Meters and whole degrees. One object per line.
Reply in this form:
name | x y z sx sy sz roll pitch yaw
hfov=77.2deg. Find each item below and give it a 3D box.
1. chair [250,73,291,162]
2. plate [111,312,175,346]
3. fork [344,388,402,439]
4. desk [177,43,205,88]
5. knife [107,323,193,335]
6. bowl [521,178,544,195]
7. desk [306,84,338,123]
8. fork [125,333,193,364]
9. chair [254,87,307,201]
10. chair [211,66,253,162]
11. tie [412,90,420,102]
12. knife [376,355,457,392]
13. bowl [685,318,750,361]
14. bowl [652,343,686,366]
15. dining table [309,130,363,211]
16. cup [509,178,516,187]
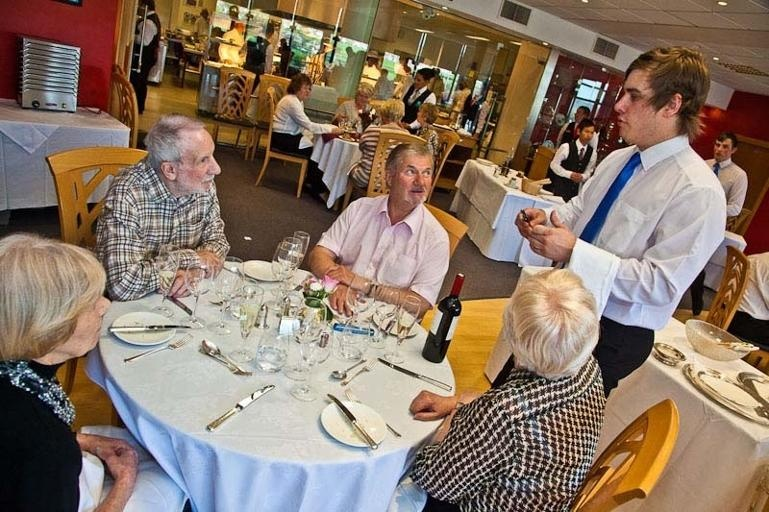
chair | -1.728 -2.066 7.472 0.730 1.103 0.701 16 22 -25
plate | -1.044 0.279 2.051 0.172 0.022 0.181 9 14 5
fork | -0.051 0.622 1.891 0.035 0.035 0.285 -9 27 -19
desk | -4.493 -4.375 11.272 0.476 0.733 0.733 4 15 -25
knife | -1.007 0.307 2.035 0.273 0.024 0.041 1 20 -12
bowl | 1.875 -0.870 6.079 0.265 0.168 0.267 2 8 0
desk | -1.188 -2.843 8.771 0.598 0.630 0.612 -16 35 -32
fork | -0.929 0.379 1.963 0.226 0.035 0.039 -18 48 -30
chair | -1.395 -1.536 6.866 0.804 1.230 0.801 7 4 -32
chair | -2.470 -2.378 7.915 0.755 1.260 0.720 2 13 -34
tie | 0.569 -2.786 8.395 0.171 0.161 0.091 17 18 13
knife | 0.131 0.522 2.145 0.318 0.017 0.045 26 39 15
bowl | 2.012 0.518 2.918 0.300 0.120 0.290 11 14 -3
bowl | 1.696 0.571 2.865 0.138 0.059 0.148 16 14 -4
dining table | -0.655 -1.123 6.410 0.745 0.851 0.851 4 22 -18
cup | 1.595 -0.907 5.947 0.100 0.063 0.105 -2 27 1
